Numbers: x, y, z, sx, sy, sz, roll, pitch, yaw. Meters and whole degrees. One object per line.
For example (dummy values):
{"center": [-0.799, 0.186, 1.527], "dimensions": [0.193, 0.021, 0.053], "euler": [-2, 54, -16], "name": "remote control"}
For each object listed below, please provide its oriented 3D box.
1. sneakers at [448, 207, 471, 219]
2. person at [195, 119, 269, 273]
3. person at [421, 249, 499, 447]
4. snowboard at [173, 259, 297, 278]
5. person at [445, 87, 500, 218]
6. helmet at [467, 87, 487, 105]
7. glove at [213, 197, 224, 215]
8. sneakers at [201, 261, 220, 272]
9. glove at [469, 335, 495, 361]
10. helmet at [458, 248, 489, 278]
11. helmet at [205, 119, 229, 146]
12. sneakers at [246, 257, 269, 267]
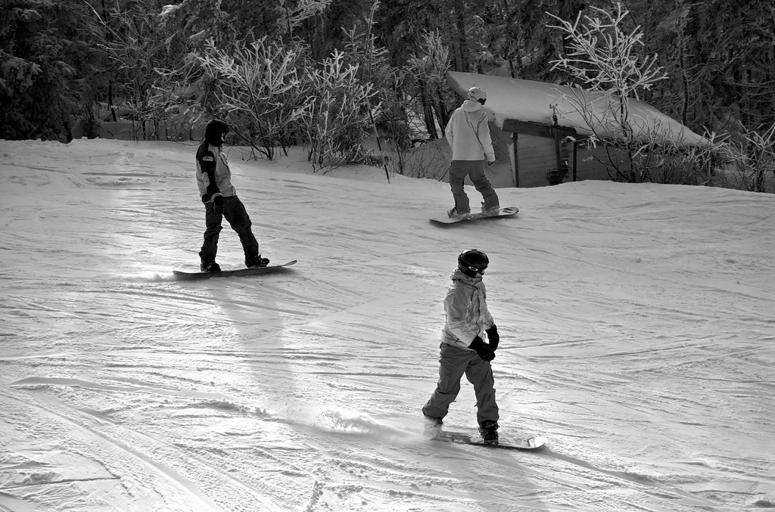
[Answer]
{"center": [1.252, -0.768, 14.464], "dimensions": [0.466, 0.156, 0.153], "euler": [-1, 9, 25], "name": "sneakers"}
{"center": [-2.411, -0.875, 11.803], "dimensions": [0.964, 2.250, 0.991], "euler": [-1, 6, 7], "name": "person"}
{"center": [0.807, 0.991, 8.576], "dimensions": [0.764, 2.116, 0.594], "euler": [-1, 6, 7], "name": "person"}
{"center": [-2.404, 0.203, 12.066], "dimensions": [1.553, 0.100, 0.157], "euler": [-5, -5, -27], "name": "snowboard"}
{"center": [1.510, -1.856, 14.147], "dimensions": [0.916, 2.335, 0.920], "euler": [-1, 6, 4], "name": "person"}
{"center": [1.611, -2.847, 14.024], "dimensions": [0.443, 0.318, 0.278], "euler": [-3, 25, -16], "name": "helmet"}
{"center": [-2.470, -0.733, 11.411], "dimensions": [0.139, 0.251, 0.163], "euler": [-3, 5, -14], "name": "glove"}
{"center": [-2.670, 0.161, 11.888], "dimensions": [0.259, 0.191, 0.147], "euler": [-2, 7, 13], "name": "sneakers"}
{"center": [0.999, 0.985, 8.353], "dimensions": [0.307, 0.195, 0.080], "euler": [37, 4, -3], "name": "glove"}
{"center": [0.909, 0.086, 8.502], "dimensions": [0.382, 0.248, 0.266], "euler": [0, 38, -7], "name": "helmet"}
{"center": [-2.500, -1.771, 11.436], "dimensions": [0.361, 0.390, 0.301], "euler": [-4, 6, -34], "name": "helmet"}
{"center": [-2.026, 0.101, 12.119], "dimensions": [0.415, 0.117, 0.156], "euler": [-5, -6, -10], "name": "sneakers"}
